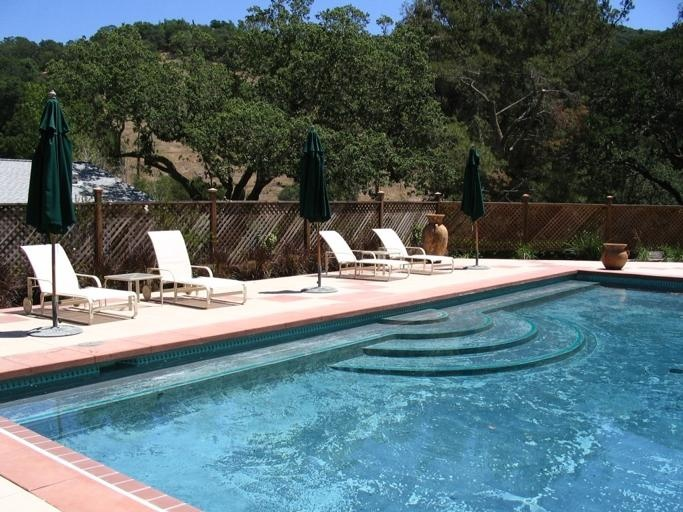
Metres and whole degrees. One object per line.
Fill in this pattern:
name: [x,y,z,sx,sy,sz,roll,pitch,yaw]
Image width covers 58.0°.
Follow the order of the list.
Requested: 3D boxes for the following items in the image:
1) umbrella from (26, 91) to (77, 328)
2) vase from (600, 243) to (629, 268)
umbrella: [-3.950,-0.557,8.288,0.617,3.232,0.712,-3,11,-28]
vase: [7.065,0.024,15.839,0.693,0.723,0.596,1,-3,0]
